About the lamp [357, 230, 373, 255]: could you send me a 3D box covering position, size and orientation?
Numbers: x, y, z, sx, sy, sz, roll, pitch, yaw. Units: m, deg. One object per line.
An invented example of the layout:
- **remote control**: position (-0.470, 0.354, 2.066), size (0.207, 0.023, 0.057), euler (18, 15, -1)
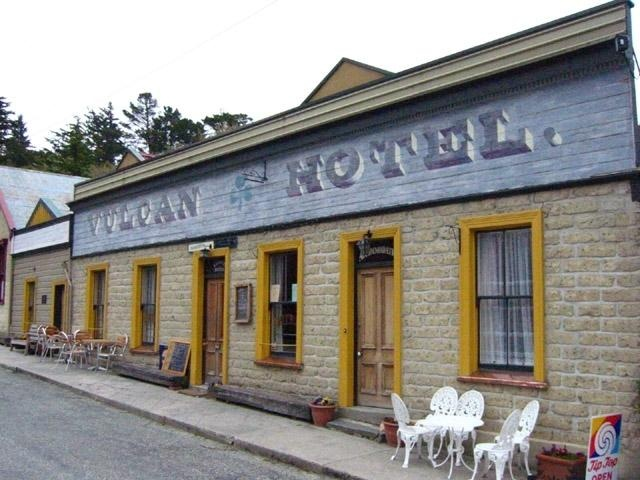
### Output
- **lamp**: position (0.832, 0.058, 10.084), size (0.201, 0.470, 0.308), euler (1, -3, -8)

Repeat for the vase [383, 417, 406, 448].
- **vase**: position (1.146, 3.084, 8.877), size (0.402, 0.260, 0.377), euler (4, -11, -20)

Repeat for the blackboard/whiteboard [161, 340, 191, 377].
- **blackboard/whiteboard**: position (-3.412, 2.859, 13.315), size (0.912, 0.650, 0.094), euler (-7, -22, 40)

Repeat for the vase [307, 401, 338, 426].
- **vase**: position (0.054, 3.090, 9.903), size (0.471, 0.291, 0.421), euler (0, -16, 3)

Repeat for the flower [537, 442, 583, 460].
- **flower**: position (3.148, 2.808, 7.333), size (0.385, 0.112, 0.376), euler (6, -9, -25)

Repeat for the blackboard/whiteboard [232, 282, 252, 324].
- **blackboard/whiteboard**: position (-1.663, 1.379, 11.993), size (0.160, 0.829, 0.575), euler (3, -4, -37)

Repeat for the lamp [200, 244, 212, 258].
- **lamp**: position (-2.642, 0.274, 13.009), size (0.267, 0.119, 0.326), euler (3, -20, -7)
